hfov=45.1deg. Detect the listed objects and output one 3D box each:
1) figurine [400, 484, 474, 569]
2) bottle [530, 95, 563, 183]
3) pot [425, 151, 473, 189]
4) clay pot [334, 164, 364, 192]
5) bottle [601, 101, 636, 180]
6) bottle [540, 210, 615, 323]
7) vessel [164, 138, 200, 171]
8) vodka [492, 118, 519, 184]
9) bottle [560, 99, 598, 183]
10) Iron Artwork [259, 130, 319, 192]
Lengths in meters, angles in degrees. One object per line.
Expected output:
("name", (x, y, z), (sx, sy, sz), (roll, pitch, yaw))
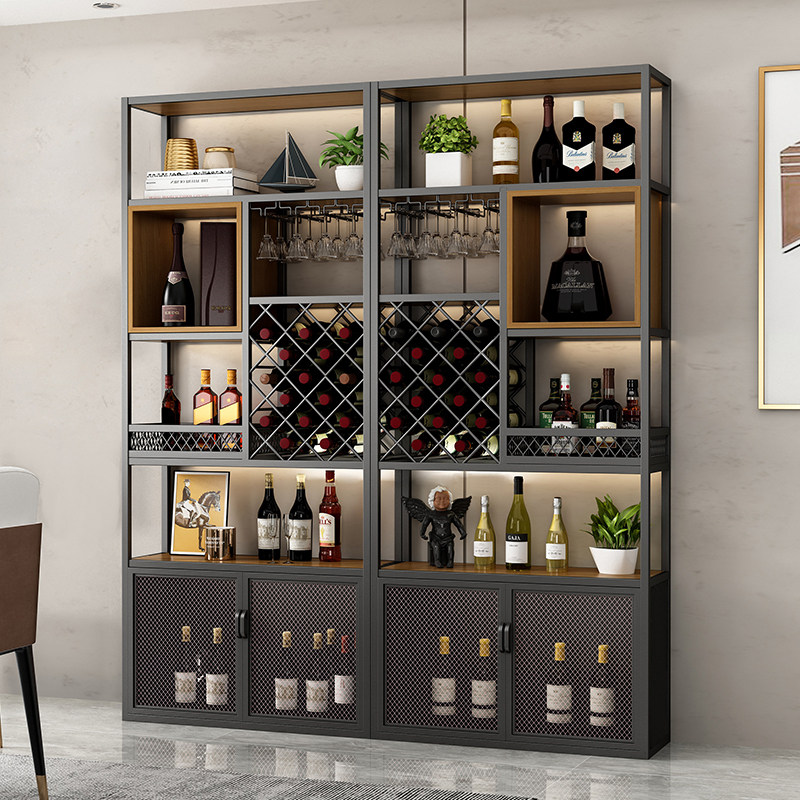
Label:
("figurine", (0.141, 0.482, 3.618), (0.297, 0.321, 0.089), (-1, -1, 2))
("bottle", (0.520, -0.917, 3.434), (0.104, 0.350, 0.218), (-1, -4, 7))
("pot", (0.167, -0.824, 3.508), (0.147, 0.139, 0.146), (0, -1, 0))
("clay pot", (-0.194, -0.829, 3.629), (0.107, 0.076, 0.104), (1, 0, 0))
("bottle", (0.759, -0.883, 3.344), (0.118, 0.309, 0.240), (-1, -4, 13))
("bottle", (0.611, -0.466, 3.369), (0.230, 0.392, 0.080), (-1, -4, 12))
("vessel", (-0.888, -0.959, 3.862), (0.152, 0.154, 0.154), (1, 3, 9))
("vodka", (0.377, -0.886, 3.421), (0.088, 0.261, 0.086), (0, -4, -3))
("bottle", (0.628, -0.904, 3.390), (0.112, 0.319, 0.166), (-2, -4, 19))
("Iron Artwork", (-0.430, -0.893, 3.625), (0.216, 0.223, 0.055), (-2, 41, -10))
